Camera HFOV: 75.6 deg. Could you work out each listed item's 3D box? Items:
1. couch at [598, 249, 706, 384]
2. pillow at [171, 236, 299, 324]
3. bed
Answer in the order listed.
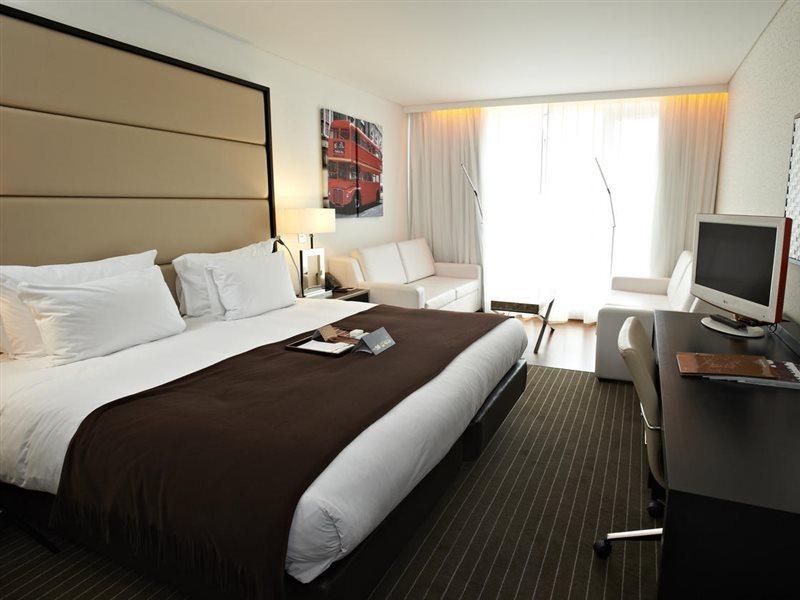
[{"bbox_3d":[2.362,0.074,4.818,0.808,1.077,1.543,7,16,29],"label":"couch"},{"bbox_3d":[-1.265,-0.136,3.855,0.593,0.617,0.172,-4,-6,-39],"label":"pillow"},{"bbox_3d":[-0.873,0.535,2.782,1.461,0.320,1.477,4,12,29],"label":"bed"}]
